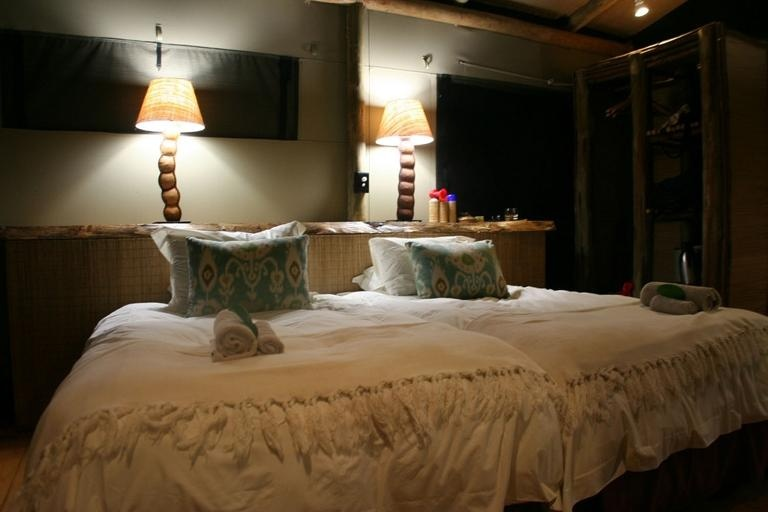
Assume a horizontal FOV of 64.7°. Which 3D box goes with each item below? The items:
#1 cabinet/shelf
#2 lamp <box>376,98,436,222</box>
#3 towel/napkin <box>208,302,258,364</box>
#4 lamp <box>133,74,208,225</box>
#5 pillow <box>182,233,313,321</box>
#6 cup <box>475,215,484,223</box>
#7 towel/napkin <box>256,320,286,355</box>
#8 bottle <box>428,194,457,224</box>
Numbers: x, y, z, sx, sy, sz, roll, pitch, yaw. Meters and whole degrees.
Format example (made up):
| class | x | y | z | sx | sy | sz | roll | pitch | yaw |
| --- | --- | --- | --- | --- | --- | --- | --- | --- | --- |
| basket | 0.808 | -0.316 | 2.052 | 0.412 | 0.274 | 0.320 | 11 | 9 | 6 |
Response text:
| class | x | y | z | sx | sy | sz | roll | pitch | yaw |
| --- | --- | --- | --- | --- | --- | --- | --- | --- | --- |
| cabinet/shelf | 2.460 | -0.734 | 5.456 | 1.352 | 2.151 | 1.096 | 1 | 4 | 42 |
| lamp | 0.160 | -0.776 | 4.971 | 0.434 | 0.975 | 0.451 | -3 | 3 | -11 |
| towel/napkin | -0.737 | 0.377 | 2.923 | 0.211 | 0.133 | 0.351 | -1 | 2 | -13 |
| lamp | -1.520 | -0.768 | 4.325 | 0.479 | 1.073 | 0.419 | -3 | 3 | -19 |
| pillow | -0.787 | 0.119 | 3.580 | 0.727 | 0.490 | 0.197 | -1 | -4 | -16 |
| cup | 0.788 | -0.309 | 5.051 | 0.072 | 0.057 | 0.075 | 1 | -1 | 0 |
| towel/napkin | -0.585 | 0.408 | 3.019 | 0.130 | 0.130 | 0.335 | 7 | 10 | -18 |
| bottle | 0.480 | -0.381 | 4.980 | 0.250 | 0.261 | 0.184 | 2 | -4 | -38 |
